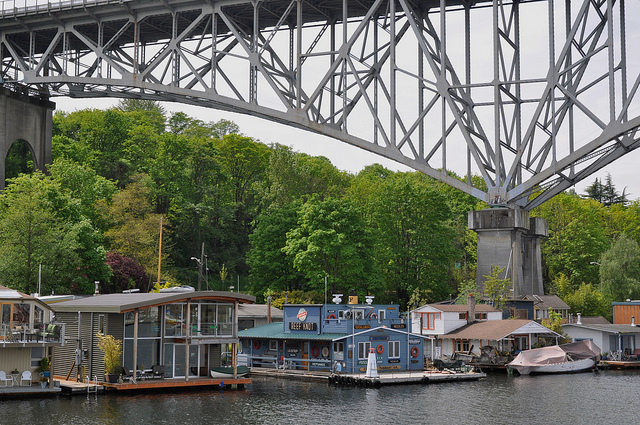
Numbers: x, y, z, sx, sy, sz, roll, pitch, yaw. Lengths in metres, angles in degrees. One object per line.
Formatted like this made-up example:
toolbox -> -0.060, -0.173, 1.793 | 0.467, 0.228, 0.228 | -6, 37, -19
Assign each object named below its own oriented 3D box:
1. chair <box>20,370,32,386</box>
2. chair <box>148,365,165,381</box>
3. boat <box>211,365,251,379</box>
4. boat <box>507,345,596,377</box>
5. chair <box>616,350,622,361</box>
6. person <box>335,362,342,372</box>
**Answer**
chair -> -22.991, 12.883, 111.109 | 0.886, 1.357, 0.987 | 1, -18, -10
chair -> -12.873, 12.524, 112.439 | 0.846, 1.117, 0.865 | 0, -5, 11
boat -> -7.271, 12.815, 115.038 | 2.905, 0.675, 1.084 | -1, -8, -21
boat -> 20.136, 13.030, 125.348 | 7.231, 2.685, 1.324 | 3, -11, -20
chair -> 27.470, 13.003, 130.749 | 0.425, 0.857, 0.281 | -4, -10, 21
person -> 1.574, 12.991, 120.518 | 0.583, 1.184, 0.591 | 7, -11, -34
